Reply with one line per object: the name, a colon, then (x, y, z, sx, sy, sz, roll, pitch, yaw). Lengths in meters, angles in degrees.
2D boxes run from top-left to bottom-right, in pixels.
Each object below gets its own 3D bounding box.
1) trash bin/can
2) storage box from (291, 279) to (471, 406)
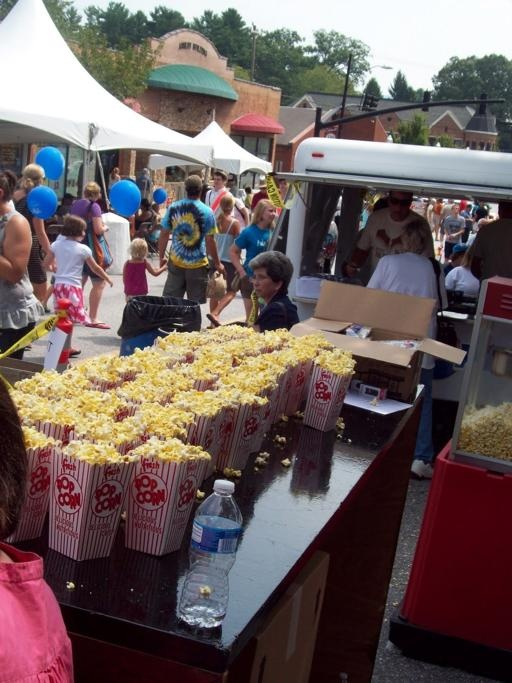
trash bin/can: (-0.897, -0.200, 5.551, 0.844, 0.740, 0.685, 5, 6, 8)
storage box: (0.717, -0.099, 3.391, 0.882, 0.531, 0.847, 13, 18, 14)
